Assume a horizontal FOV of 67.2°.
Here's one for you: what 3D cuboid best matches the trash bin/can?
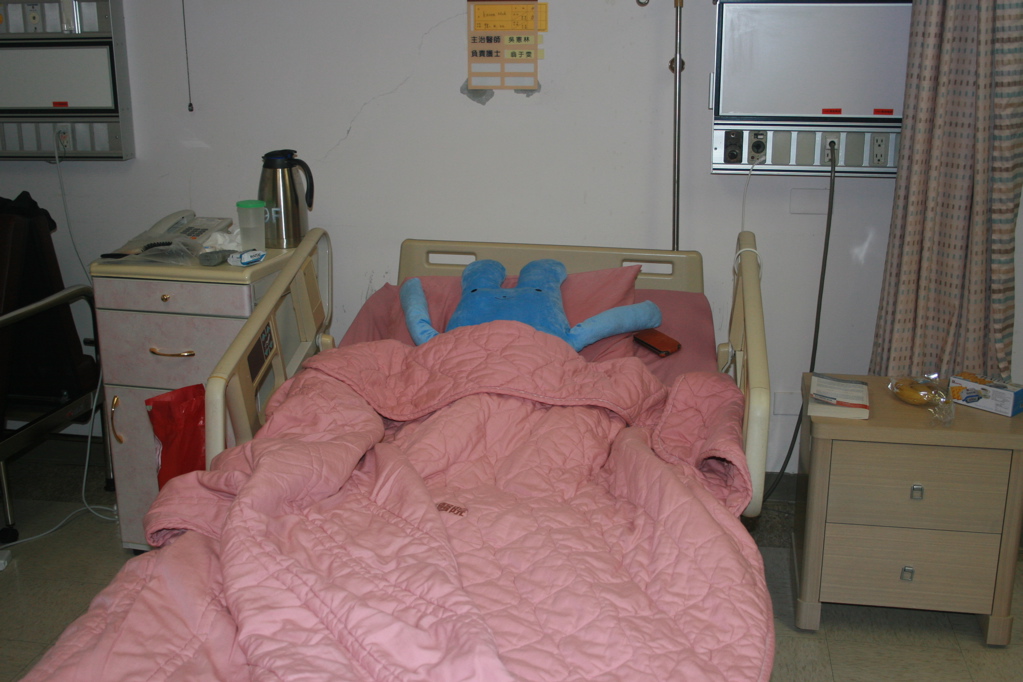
[{"bbox_3d":[1.068,0.816,3.054,0.305,0.261,0.590,1,33,12],"label":"trash bin/can"}]

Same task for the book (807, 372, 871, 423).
[{"bbox_3d":[1.122,0.189,2.623,0.153,0.042,0.165,4,22,11],"label":"book"}]

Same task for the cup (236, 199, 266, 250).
[{"bbox_3d":[-1.049,-0.469,3.097,0.164,0.198,0.120,-6,15,-27],"label":"cup"}]

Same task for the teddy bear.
[{"bbox_3d":[0.060,-0.139,2.888,0.669,0.144,0.401,6,63,7],"label":"teddy bear"}]

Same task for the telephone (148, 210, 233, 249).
[{"bbox_3d":[-1.306,-0.450,3.104,0.230,0.077,0.239,6,26,12],"label":"telephone"}]

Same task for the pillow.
[{"bbox_3d":[0.058,-0.137,2.882,0.635,0.136,0.393,2,51,9],"label":"pillow"}]

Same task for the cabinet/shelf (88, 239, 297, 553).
[{"bbox_3d":[-1.365,0.138,3.251,0.581,1.161,0.668,5,22,-8],"label":"cabinet/shelf"}]
